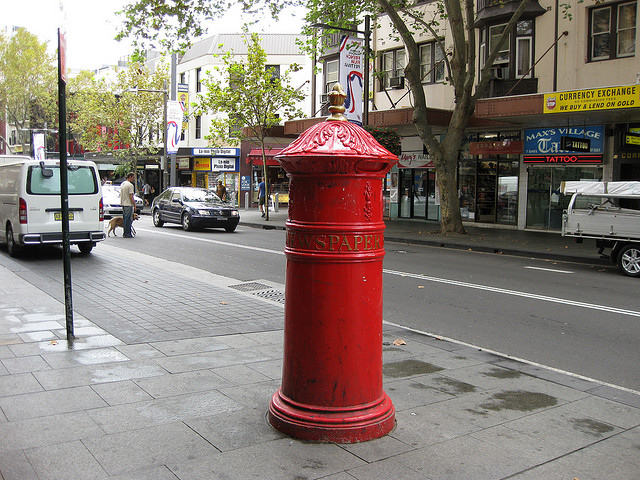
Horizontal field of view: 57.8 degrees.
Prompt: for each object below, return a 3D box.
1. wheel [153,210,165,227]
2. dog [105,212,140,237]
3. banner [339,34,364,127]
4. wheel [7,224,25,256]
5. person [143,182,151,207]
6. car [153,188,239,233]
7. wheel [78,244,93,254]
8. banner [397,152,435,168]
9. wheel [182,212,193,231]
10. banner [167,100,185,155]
[{"bbox_3d":[-7.030,-0.976,25.359,0.366,0.724,1.140,-1,8,-22],"label":"wheel"},{"bbox_3d":[-7.225,-0.664,21.192,0.960,0.852,2.485,-1,7,-20],"label":"dog"},{"bbox_3d":[1.127,-5.893,21.246,0.776,3.220,1.402,6,8,32],"label":"banner"},{"bbox_3d":[-7.395,-0.042,14.113,0.230,0.775,0.716,-3,2,-29],"label":"wheel"},{"bbox_3d":[-11.323,-2.943,38.037,0.306,1.475,3.374,-1,7,-16],"label":"person"},{"bbox_3d":[-5.164,-1.281,24.195,1.768,1.716,3.789,-5,10,-43],"label":"car"},{"bbox_3d":[-6.203,0.211,15.259,0.245,0.278,0.061,3,7,-6],"label":"wheel"},{"bbox_3d":[4.785,-4.075,29.456,0.475,0.773,2.492,-2,8,-30],"label":"banner"},{"bbox_3d":[-5.287,-0.768,23.189,0.189,0.648,0.600,0,13,-29],"label":"wheel"},{"bbox_3d":[-8.401,-6.582,33.818,1.029,3.351,0.031,2,-14,-16],"label":"banner"}]
